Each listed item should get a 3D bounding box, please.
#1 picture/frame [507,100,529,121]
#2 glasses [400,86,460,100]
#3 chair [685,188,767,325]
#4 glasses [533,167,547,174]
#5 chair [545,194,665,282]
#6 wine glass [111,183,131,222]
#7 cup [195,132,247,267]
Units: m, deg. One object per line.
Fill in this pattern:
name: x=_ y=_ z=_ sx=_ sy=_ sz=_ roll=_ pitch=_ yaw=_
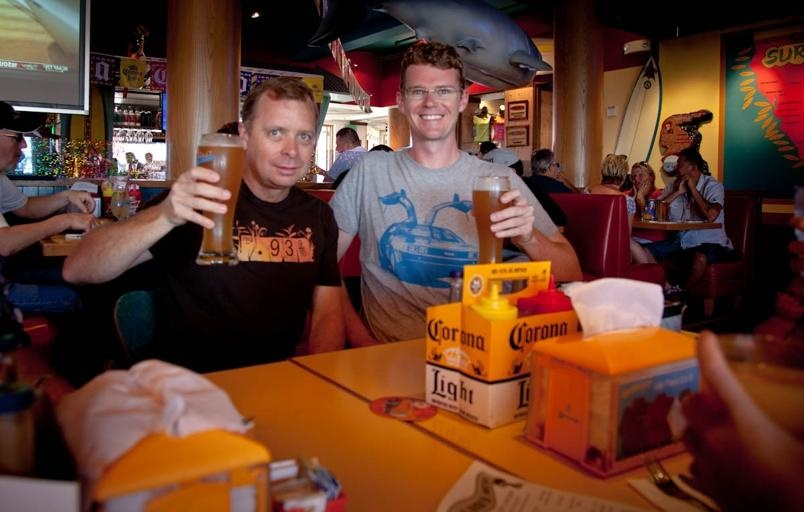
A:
picture/frame: x=2.143 y=-2.724 z=10.227 sx=0.265 sy=0.377 sz=0.475 roll=-4 pitch=6 yaw=-41
glasses: x=0.125 y=-0.686 z=2.326 sx=0.223 sy=0.060 sz=0.072 roll=2 pitch=12 yaw=1
chair: x=3.277 y=-0.078 z=5.856 sx=0.856 sy=1.076 sz=0.831 roll=-9 pitch=14 yaw=20
glasses: x=1.532 y=-0.981 z=6.248 sx=0.097 sy=0.063 sz=0.095 roll=-13 pitch=19 yaw=-39
chair: x=1.207 y=-0.164 z=3.875 sx=0.517 sy=0.592 sz=0.676 roll=2 pitch=8 yaw=6
wine glass: x=-1.719 y=-0.343 z=3.420 sx=0.123 sy=0.293 sz=0.115 roll=-1 pitch=5 yaw=-35
cup: x=-0.472 y=-0.138 z=1.445 sx=0.115 sy=0.359 sz=0.193 roll=1 pitch=13 yaw=-7
